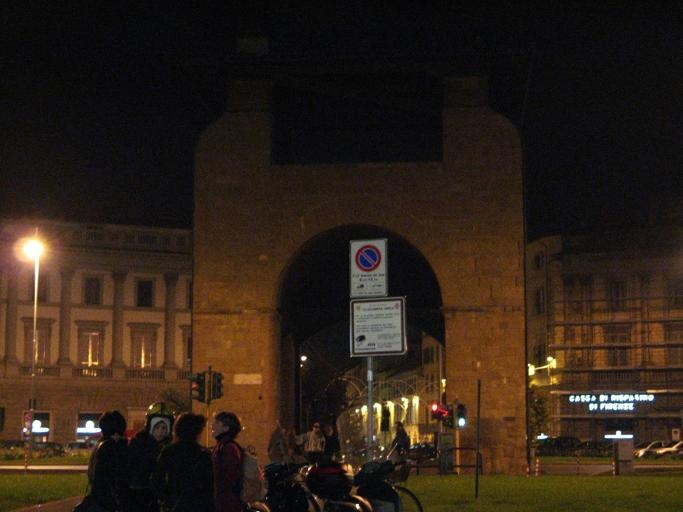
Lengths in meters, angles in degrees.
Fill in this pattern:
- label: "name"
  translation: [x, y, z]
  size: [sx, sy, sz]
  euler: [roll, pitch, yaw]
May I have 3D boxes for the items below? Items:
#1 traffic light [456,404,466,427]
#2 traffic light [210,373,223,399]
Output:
- label: "traffic light"
  translation: [4.693, 6.261, 51.943]
  size: [0.463, 0.851, 0.272]
  euler: [9, -17, -37]
- label: "traffic light"
  translation: [-4.747, 4.919, 50.370]
  size: [0.273, 1.042, 0.614]
  euler: [-3, -14, 7]
